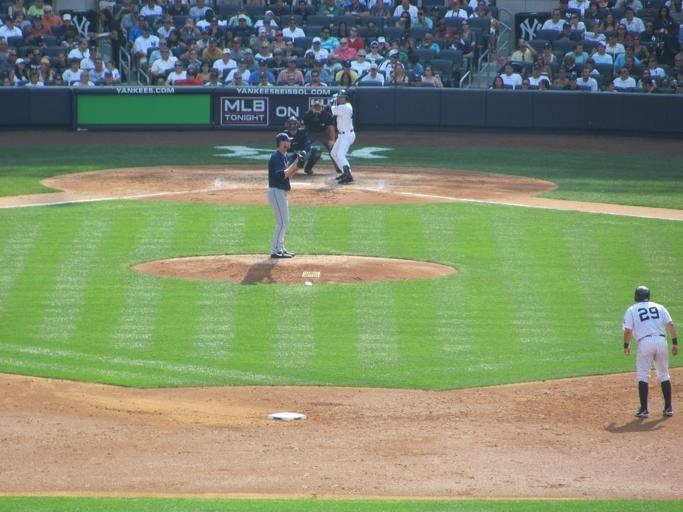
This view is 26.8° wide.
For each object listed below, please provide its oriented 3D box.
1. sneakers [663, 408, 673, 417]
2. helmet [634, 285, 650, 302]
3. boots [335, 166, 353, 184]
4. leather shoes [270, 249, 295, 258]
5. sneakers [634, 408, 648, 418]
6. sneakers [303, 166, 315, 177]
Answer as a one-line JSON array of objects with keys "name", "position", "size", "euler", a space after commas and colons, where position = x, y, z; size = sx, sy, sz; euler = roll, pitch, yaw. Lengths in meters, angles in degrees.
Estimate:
[{"name": "sneakers", "position": [4.980, 2.404, 22.049], "size": [0.129, 0.038, 0.146], "euler": [0, 19, 6]}, {"name": "helmet", "position": [4.649, 0.588, 22.453], "size": [0.289, 0.242, 0.309], "euler": [1, 11, 0]}, {"name": "boots", "position": [0.165, -1.922, 34.025], "size": [0.565, 0.400, 0.245], "euler": [7, 27, 15]}, {"name": "leather shoes", "position": [-1.125, -0.035, 28.064], "size": [0.361, 0.100, 0.167], "euler": [0, 6, 4]}, {"name": "sneakers", "position": [4.564, 2.414, 21.955], "size": [0.229, 0.114, 0.097], "euler": [2, 2, 15]}, {"name": "sneakers", "position": [-0.766, -2.096, 35.245], "size": [0.306, 0.228, 0.119], "euler": [-4, 42, -4]}]
